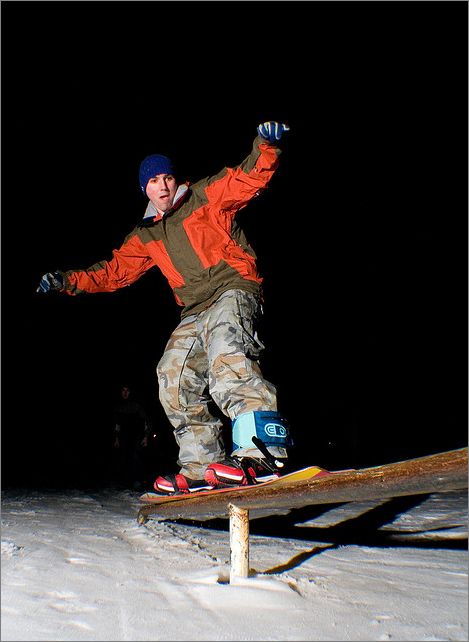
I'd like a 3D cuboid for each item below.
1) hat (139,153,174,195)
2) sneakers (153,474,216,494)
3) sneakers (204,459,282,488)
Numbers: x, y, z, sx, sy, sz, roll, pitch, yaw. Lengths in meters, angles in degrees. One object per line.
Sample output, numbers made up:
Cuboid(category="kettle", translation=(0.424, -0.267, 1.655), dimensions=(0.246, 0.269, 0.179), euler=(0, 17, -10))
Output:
Cuboid(category="hat", translation=(-0.380, -0.712, 2.925), dimensions=(0.168, 0.192, 0.179), euler=(1, -33, -5))
Cuboid(category="sneakers", translation=(-0.241, 0.722, 2.655), dimensions=(0.196, 0.069, 0.135), euler=(7, -15, 0))
Cuboid(category="sneakers", translation=(0.023, 0.558, 2.245), dimensions=(0.283, 0.122, 0.108), euler=(6, -27, -2))
